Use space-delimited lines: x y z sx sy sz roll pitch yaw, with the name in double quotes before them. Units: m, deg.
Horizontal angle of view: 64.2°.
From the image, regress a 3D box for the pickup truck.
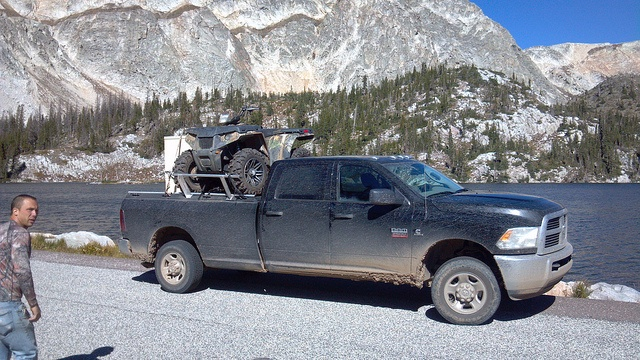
"pickup truck" 0.534 1.275 13.354 10.299 2.976 4.324 -1 1 21
